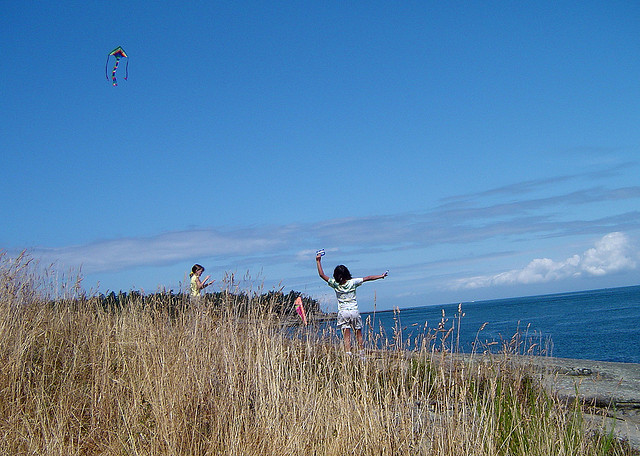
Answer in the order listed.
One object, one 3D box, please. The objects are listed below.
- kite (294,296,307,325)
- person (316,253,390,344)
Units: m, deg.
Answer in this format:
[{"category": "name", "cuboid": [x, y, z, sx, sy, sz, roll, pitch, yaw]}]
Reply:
[{"category": "kite", "cuboid": [-0.296, 1.162, 7.936, 0.152, 0.126, 0.539, 41, -7, -1]}, {"category": "person", "cuboid": [0.709, 1.502, 10.891, 1.408, 2.671, 0.471, -2, 24, 8]}]
